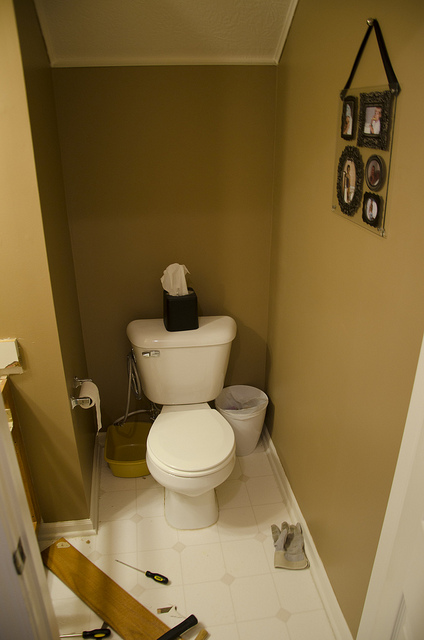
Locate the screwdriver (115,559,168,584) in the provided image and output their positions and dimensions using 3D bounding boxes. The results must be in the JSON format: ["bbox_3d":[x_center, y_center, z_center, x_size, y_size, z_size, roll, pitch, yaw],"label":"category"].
[{"bbox_3d":[-0.254,0.957,1.726,0.206,0.032,0.028,23,9,25],"label":"screwdriver"}]

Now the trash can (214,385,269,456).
[{"bbox_3d":[0.136,0.564,2.439,0.240,0.304,0.262,10,21,24],"label":"trash can"}]

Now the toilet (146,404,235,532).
[{"bbox_3d":[-0.095,0.648,2.026,0.302,0.408,0.528,-3,20,-14],"label":"toilet"}]

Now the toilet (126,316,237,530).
[{"bbox_3d":[-0.094,0.454,2.042,0.486,0.756,0.680,-5,24,-11],"label":"toilet"}]

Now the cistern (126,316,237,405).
[{"bbox_3d":[-0.129,0.168,2.170,0.453,0.379,0.321,-6,28,-18],"label":"cistern"}]
